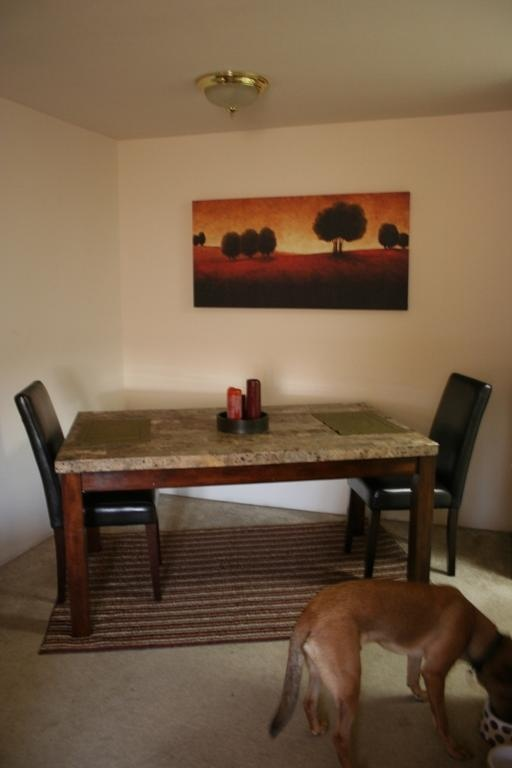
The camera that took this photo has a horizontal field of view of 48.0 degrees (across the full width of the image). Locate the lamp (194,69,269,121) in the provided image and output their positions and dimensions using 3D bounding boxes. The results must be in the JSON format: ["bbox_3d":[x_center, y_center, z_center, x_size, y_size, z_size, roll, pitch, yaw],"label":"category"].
[{"bbox_3d":[-0.096,-1.172,2.229,0.278,0.136,0.213,1,7,3],"label":"lamp"}]

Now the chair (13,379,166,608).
[{"bbox_3d":[-0.670,0.397,2.452,0.578,0.933,0.518,4,22,-1],"label":"chair"}]

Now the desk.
[{"bbox_3d":[-0.061,0.523,2.408,1.431,0.676,0.716,-1,7,-9],"label":"desk"}]
